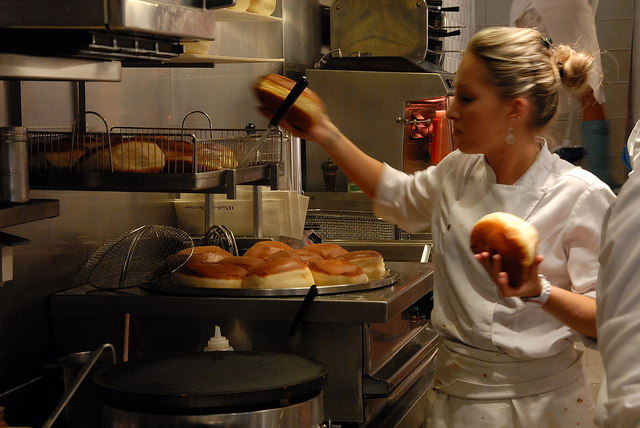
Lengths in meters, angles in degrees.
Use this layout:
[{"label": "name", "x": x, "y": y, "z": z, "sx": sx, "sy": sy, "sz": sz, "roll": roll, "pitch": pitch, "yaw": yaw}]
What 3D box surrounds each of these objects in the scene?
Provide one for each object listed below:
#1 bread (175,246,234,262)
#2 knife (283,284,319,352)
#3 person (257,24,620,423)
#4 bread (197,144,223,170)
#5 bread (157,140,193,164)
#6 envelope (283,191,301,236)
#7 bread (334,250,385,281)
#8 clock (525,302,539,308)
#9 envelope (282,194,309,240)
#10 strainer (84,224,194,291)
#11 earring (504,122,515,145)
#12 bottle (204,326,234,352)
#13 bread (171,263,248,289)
[{"label": "bread", "x": -0.401, "y": 0.134, "z": 1.908, "sx": 0.164, "sy": 0.035, "sz": 0.152, "roll": 2, "pitch": 7, "yaw": 10}, {"label": "knife", "x": -0.058, "y": 0.333, "z": 1.711, "sx": 0.053, "sy": 0.339, "sz": 0.040, "roll": 13, "pitch": 35, "yaw": -3}, {"label": "person", "x": 0.445, "y": 0.038, "z": 1.710, "sx": 0.808, "sy": 1.165, "sz": 0.353, "roll": 5, "pitch": 8, "yaw": 36}, {"label": "bread", "x": -0.343, "y": -0.176, "z": 1.690, "sx": 0.039, "sy": 0.077, "sz": 0.115, "roll": 3, "pitch": 7, "yaw": 20}, {"label": "bread", "x": -0.430, "y": -0.200, "z": 1.642, "sx": 0.084, "sy": 0.024, "sz": 0.087, "roll": -7, "pitch": 38, "yaw": -22}, {"label": "envelope", "x": -0.127, "y": -0.010, "z": 2.506, "sx": 0.081, "sy": 0.171, "sz": 0.164, "roll": -5, "pitch": 9, "yaw": -8}, {"label": "bread", "x": 0.139, "y": 0.157, "z": 1.921, "sx": 0.159, "sy": 0.101, "sz": 0.129, "roll": 6, "pitch": 19, "yaw": 17}, {"label": "clock", "x": 0.536, "y": 0.227, "z": 1.397, "sx": 0.030, "sy": 0.008, "sz": 0.031, "roll": -1, "pitch": 1, "yaw": 41}, {"label": "envelope", "x": -0.080, "y": 0.007, "z": 2.537, "sx": 0.093, "sy": 0.202, "sz": 0.137, "roll": 3, "pitch": 7, "yaw": 24}, {"label": "strainer", "x": -0.624, "y": 0.150, "z": 1.907, "sx": 0.348, "sy": 0.196, "sz": 0.171, "roll": 1, "pitch": 7, "yaw": 1}, {"label": "earring", "x": 0.530, "y": -0.225, "z": 1.533, "sx": 0.027, "sy": 0.059, "sz": 0.011, "roll": 2, "pitch": 6, "yaw": 9}, {"label": "bottle", "x": -0.288, "y": 0.360, "z": 1.559, "sx": 0.077, "sy": 0.088, "sz": 0.078, "roll": 1, "pitch": -7, "yaw": -24}, {"label": "bread", "x": -0.367, "y": 0.200, "z": 1.800, "sx": 0.247, "sy": 0.069, "sz": 0.083, "roll": 1, "pitch": 7, "yaw": 0}]
